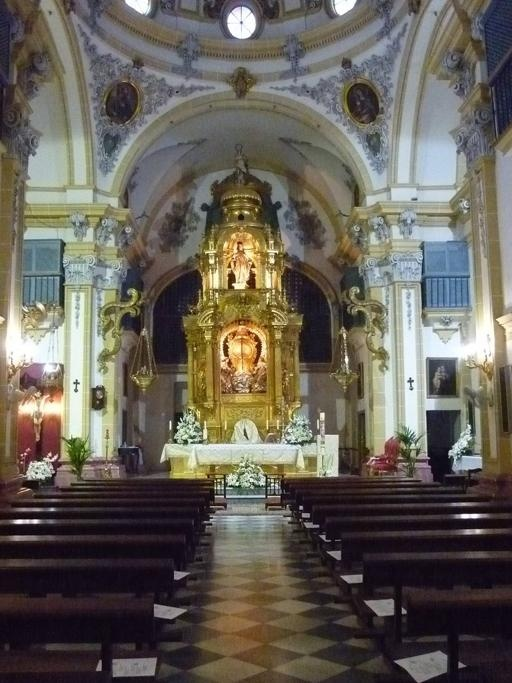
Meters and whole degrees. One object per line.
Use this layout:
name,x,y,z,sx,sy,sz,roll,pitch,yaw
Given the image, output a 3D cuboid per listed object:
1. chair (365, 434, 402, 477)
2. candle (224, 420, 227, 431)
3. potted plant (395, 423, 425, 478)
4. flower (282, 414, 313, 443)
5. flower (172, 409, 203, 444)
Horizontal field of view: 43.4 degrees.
chair,2.705,2.401,13.371,0.869,1.156,0.720,0,-8,-3
candle,-0.837,2.363,18.134,0.109,0.244,0.107,1,-9,-12
potted plant,3.128,2.211,13.044,0.530,0.977,1.328,-3,-8,14
flower,1.066,2.235,16.060,0.685,0.713,1.059,0,-8,-6
flower,-1.641,2.163,15.813,0.708,0.733,1.018,-2,-8,9
